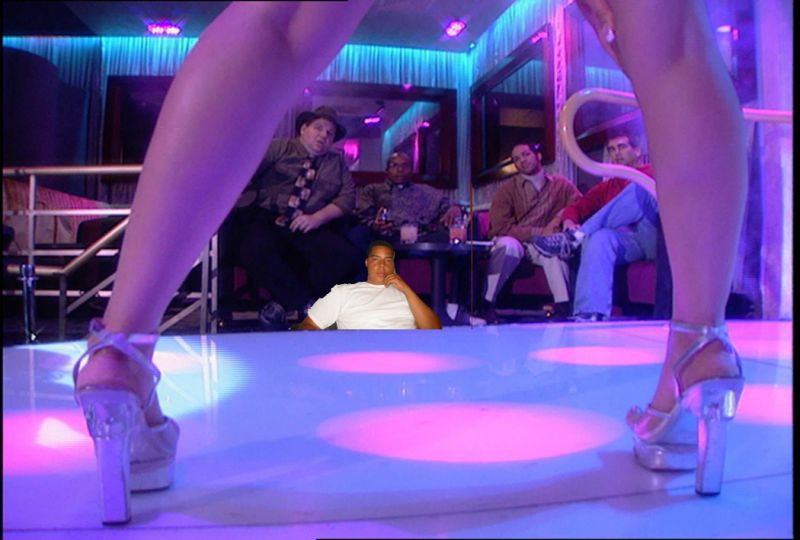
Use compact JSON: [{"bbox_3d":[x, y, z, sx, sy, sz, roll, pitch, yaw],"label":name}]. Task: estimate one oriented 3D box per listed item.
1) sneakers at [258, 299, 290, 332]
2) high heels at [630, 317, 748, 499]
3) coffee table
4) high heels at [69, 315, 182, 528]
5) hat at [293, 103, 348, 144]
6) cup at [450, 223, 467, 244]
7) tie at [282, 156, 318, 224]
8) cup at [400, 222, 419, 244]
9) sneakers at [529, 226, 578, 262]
[{"bbox_3d":[-0.573,0.210,2.912,0.120,0.178,0.081,3,-6,6],"label":"sneakers"},{"bbox_3d":[0.315,0.167,0.737,0.092,0.176,0.227,-1,1,-1],"label":"high heels"},{"bbox_3d":[0.180,0.062,3.095,0.381,0.314,0.410,1,2,32],"label":"coffee table"},{"bbox_3d":[-0.320,0.167,0.763,0.117,0.212,0.125,-4,8,-27],"label":"high heels"},{"bbox_3d":[-0.455,-0.851,3.597,0.239,0.098,0.217,-4,-29,43],"label":"hat"},{"bbox_3d":[0.293,-0.180,3.207,0.073,0.080,0.139,5,6,2],"label":"cup"},{"bbox_3d":[-0.505,-0.415,3.300,0.101,0.401,0.021,20,-37,-1],"label":"tie"},{"bbox_3d":[0.049,-0.172,3.080,0.084,0.093,0.089,2,-7,0],"label":"cup"},{"bbox_3d":[0.800,-0.135,3.284,0.250,0.099,0.122,7,-17,22],"label":"sneakers"}]
